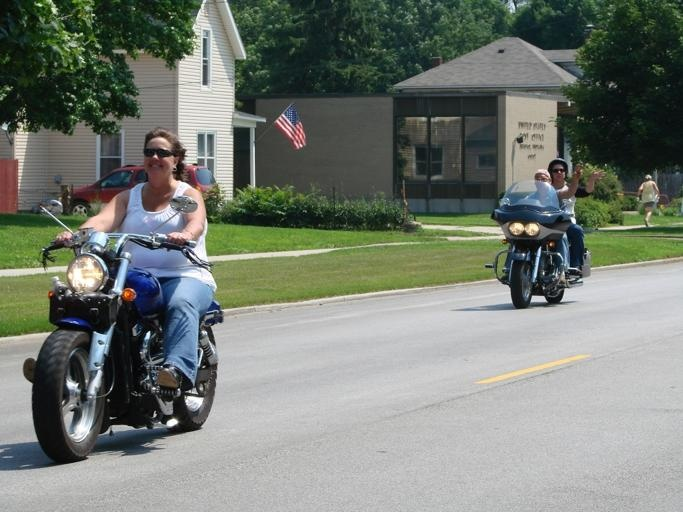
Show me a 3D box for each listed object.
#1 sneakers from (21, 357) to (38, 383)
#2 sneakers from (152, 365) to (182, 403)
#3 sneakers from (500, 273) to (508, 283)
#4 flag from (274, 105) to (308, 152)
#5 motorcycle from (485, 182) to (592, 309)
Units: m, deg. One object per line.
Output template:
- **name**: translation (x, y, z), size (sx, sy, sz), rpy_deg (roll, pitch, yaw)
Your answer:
- **sneakers**: translation (-2.454, 0.883, 7.402), size (0.112, 0.219, 0.130), rpy_deg (1, -22, -15)
- **sneakers**: translation (-1.408, 1.039, 7.627), size (0.132, 0.360, 0.161), rpy_deg (0, 49, -3)
- **sneakers**: translation (2.895, 0.388, 16.721), size (0.128, 0.066, 0.171), rpy_deg (4, 50, 8)
- **flag**: translation (-2.116, -5.522, 39.615), size (1.003, 1.761, 1.007), rpy_deg (0, 4, 5)
- **motorcycle**: translation (3.529, -0.210, 16.757), size (1.575, 2.243, 1.280), rpy_deg (0, 4, 3)
